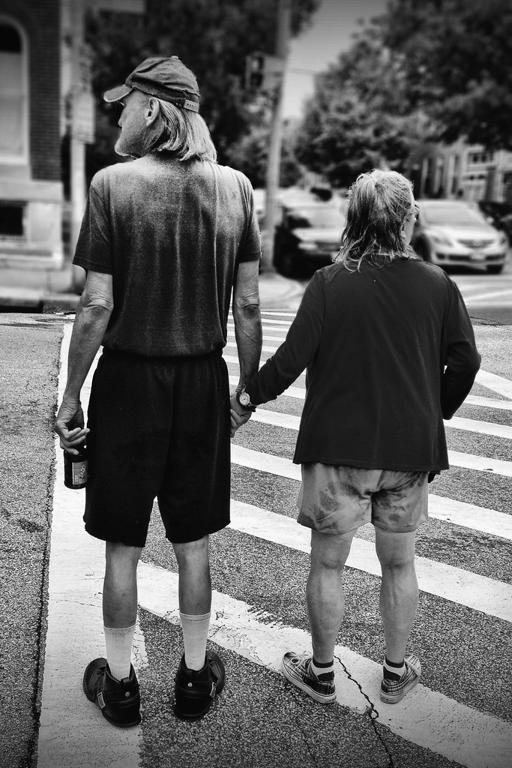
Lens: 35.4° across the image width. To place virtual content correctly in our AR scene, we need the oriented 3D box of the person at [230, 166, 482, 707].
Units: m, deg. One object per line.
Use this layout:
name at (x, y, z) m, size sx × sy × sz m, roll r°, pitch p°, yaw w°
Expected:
person at (0.344, 0.202, 2.642) m, size 0.778 × 1.785 × 0.353 m, roll 3°, pitch 8°, yaw -2°

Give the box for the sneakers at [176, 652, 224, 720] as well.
sneakers at (-0.188, 0.990, 2.663) m, size 0.089 × 0.160 × 0.246 m, roll 2°, pitch 15°, yaw 7°

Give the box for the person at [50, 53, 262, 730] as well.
person at (-0.297, 0.030, 2.539) m, size 0.649 × 2.055 × 0.368 m, roll 1°, pitch 8°, yaw -15°

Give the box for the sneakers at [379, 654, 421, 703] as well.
sneakers at (0.513, 1.036, 2.803) m, size 0.075 × 0.094 × 0.203 m, roll 3°, pitch 24°, yaw 31°

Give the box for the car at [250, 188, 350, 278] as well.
car at (1.186, -3.834, 19.966) m, size 1.883 × 1.963 × 4.207 m, roll -2°, pitch 11°, yaw -12°

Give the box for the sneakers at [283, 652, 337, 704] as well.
sneakers at (0.168, 0.999, 2.798) m, size 0.094 × 0.109 × 0.253 m, roll -3°, pitch 18°, yaw -39°

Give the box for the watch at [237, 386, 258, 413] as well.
watch at (-0.028, 0.060, 2.690) m, size 0.028 × 0.081 × 0.057 m, roll -33°, pitch 52°, yaw -20°

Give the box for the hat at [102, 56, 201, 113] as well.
hat at (-0.301, -0.900, 2.414) m, size 0.275 × 0.175 × 0.198 m, roll 10°, pitch 13°, yaw 0°

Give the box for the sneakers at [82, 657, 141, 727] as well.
sneakers at (-0.463, 0.973, 2.611) m, size 0.107 × 0.123 × 0.279 m, roll -1°, pitch 12°, yaw -20°
